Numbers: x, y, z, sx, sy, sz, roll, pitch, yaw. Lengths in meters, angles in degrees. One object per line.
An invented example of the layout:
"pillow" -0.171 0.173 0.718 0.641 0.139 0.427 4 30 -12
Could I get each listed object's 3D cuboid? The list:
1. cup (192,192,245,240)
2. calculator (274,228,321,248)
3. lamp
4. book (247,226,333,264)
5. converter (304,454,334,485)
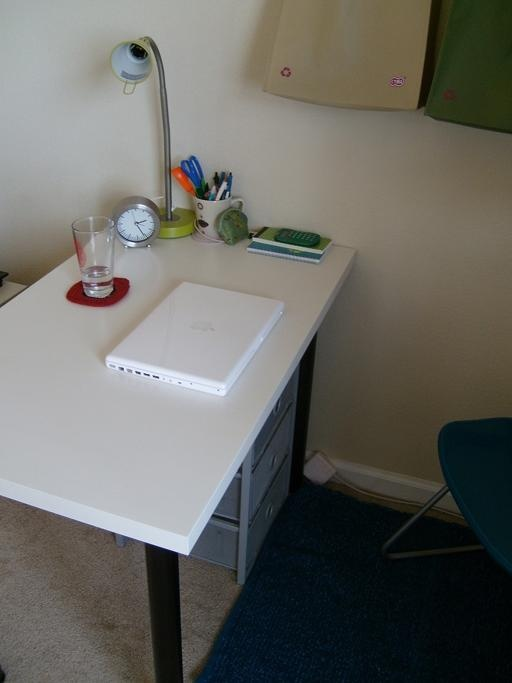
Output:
"cup" -0.096 -0.331 1.407 0.128 0.095 0.084 -24 38 -35
"calculator" 0.099 -0.254 1.337 0.098 0.021 0.057 16 35 21
"lamp" -0.235 -0.483 1.321 0.185 0.441 0.271 1 32 -8
"book" 0.075 -0.258 1.313 0.144 0.036 0.110 13 35 16
"converter" 0.204 0.408 1.819 0.095 0.098 0.059 -33 -2 8
